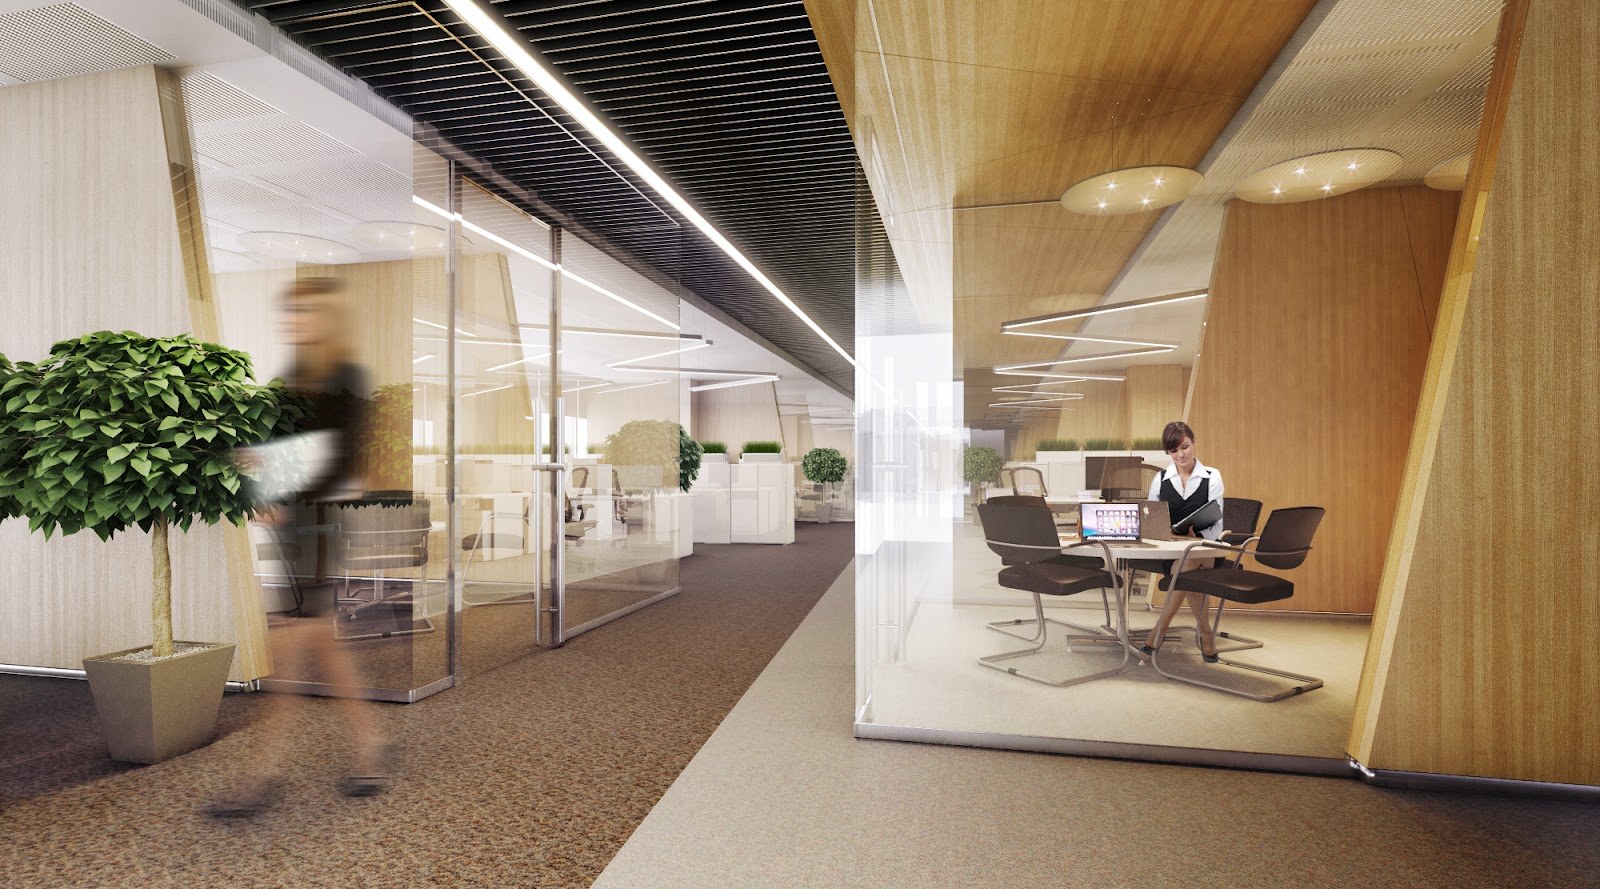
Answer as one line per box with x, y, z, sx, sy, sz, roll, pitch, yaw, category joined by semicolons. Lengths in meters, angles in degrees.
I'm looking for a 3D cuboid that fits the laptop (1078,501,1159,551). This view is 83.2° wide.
2.059;0.520;5.940;0.495;0.213;0.309;0;-4;11;laptop

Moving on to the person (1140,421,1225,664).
2.507;0.627;5.856;0.458;1.544;0.203;0;1;19;person

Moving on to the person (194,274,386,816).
-3.314;0.391;6.368;0.585;3.270;1.344;-2;1;-42;person

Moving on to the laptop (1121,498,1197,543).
2.291;0.491;5.939;0.401;0.211;0.288;0;-3;22;laptop
